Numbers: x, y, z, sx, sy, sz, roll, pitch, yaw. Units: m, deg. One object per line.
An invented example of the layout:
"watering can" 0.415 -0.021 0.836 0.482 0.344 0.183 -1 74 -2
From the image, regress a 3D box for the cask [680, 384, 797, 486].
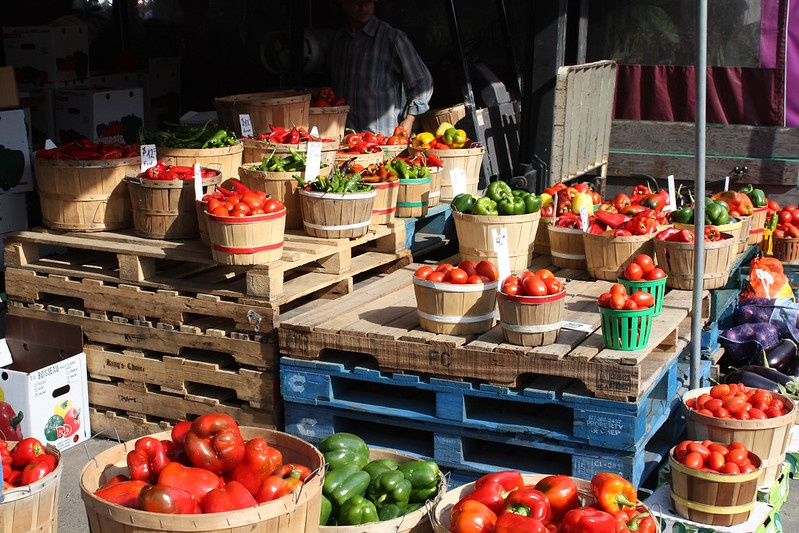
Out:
"cask" 2.335 1.156 4.212 0.598 0.405 0.649 -6 10 -21

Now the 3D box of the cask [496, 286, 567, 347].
"cask" 0.854 0.302 3.839 0.393 0.290 0.373 1 8 24

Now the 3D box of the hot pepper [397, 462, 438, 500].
"hot pepper" 0.099 1.267 3.574 0.274 0.204 0.213 2 49 -19

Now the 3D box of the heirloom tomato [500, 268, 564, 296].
"heirloom tomato" 0.847 0.120 3.832 0.239 0.098 0.218 -5 8 0

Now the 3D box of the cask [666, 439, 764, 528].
"cask" 1.970 1.324 3.770 0.503 0.380 0.508 2 4 39

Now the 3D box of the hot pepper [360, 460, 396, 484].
"hot pepper" -0.108 1.219 3.594 0.161 0.115 0.105 -17 14 -12

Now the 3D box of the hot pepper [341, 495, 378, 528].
"hot pepper" -0.210 1.338 3.229 0.158 0.203 0.160 11 54 -10

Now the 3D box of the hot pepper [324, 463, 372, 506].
"hot pepper" -0.302 1.262 3.437 0.207 0.166 0.187 -28 50 -23

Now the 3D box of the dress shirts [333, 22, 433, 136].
"dress shirts" -0.424 -2.681 8.243 1.844 1.558 0.923 18 38 30

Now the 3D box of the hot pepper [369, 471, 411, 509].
"hot pepper" -0.047 1.280 3.457 0.188 0.194 0.224 7 21 29

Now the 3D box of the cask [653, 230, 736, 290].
"cask" 2.487 -0.031 5.074 0.579 0.363 0.560 5 11 42

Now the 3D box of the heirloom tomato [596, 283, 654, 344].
"heirloom tomato" 1.465 0.336 3.878 0.324 0.384 0.214 3 12 22

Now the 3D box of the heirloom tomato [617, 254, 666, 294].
"heirloom tomato" 1.802 0.040 4.453 0.290 0.284 0.292 -5 8 -17

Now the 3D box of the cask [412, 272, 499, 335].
"cask" 0.441 0.268 4.261 0.586 0.351 0.573 -1 5 2
